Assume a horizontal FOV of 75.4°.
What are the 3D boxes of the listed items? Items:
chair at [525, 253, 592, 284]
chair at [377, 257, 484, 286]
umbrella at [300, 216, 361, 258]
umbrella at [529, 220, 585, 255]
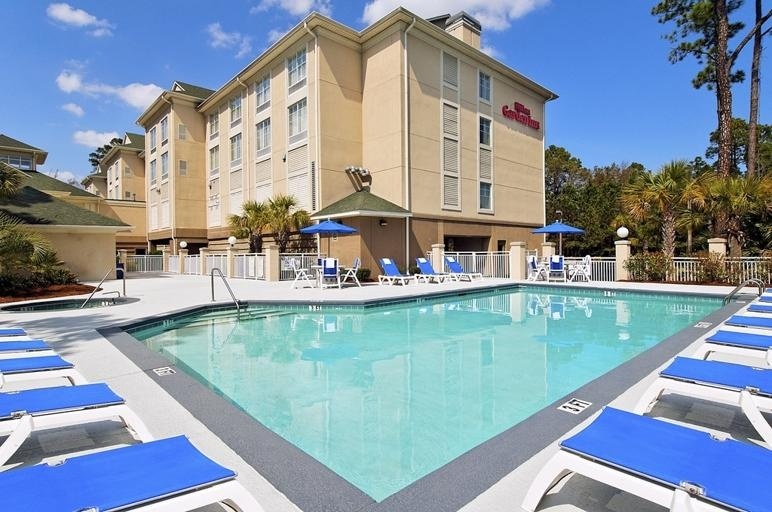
[{"bbox_3d":[8.280,0.615,23.945,2.778,1.291,2.146,-4,-2,12],"label":"chair"},{"bbox_3d":[1.908,0.679,23.331,4.433,1.161,2.282,-4,-2,-5],"label":"chair"},{"bbox_3d":[-2.628,-0.800,23.776,2.310,1.798,2.391,5,3,38],"label":"umbrella"},{"bbox_3d":[9.233,-0.914,26.829,2.589,2.069,2.707,-3,8,6],"label":"umbrella"}]
